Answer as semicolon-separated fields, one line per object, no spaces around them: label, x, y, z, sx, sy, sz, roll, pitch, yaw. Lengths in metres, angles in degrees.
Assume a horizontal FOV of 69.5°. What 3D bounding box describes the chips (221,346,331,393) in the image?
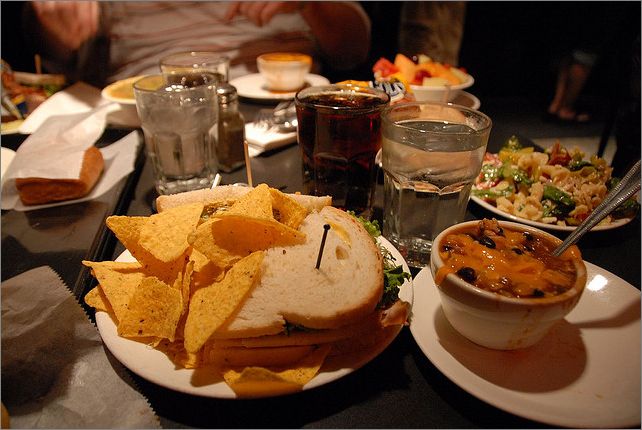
chips;-0.114;0.428;1.265;0.307;0.096;0.101;-8;35;-11

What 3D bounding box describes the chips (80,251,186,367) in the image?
chips;-0.546;0.272;1.371;0.342;0.101;0.270;10;59;14

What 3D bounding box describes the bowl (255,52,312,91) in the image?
bowl;-0.243;-0.895;2.854;0.300;0.156;0.288;2;30;-1

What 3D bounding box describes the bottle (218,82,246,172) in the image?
bottle;-0.435;-0.406;2.158;0.154;0.346;0.166;0;23;0

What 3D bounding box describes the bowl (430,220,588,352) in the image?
bowl;0.542;0.202;1.394;0.427;0.280;0.292;8;35;12

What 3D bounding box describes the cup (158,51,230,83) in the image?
cup;-0.626;-0.752;2.310;0.303;0.227;0.278;-1;19;0

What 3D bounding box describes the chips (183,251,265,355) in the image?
chips;-0.292;0.246;1.305;0.177;0.272;0.263;-5;11;-28

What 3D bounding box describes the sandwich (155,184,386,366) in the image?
sandwich;-0.129;0.153;1.359;0.583;0.257;0.583;-7;36;-13

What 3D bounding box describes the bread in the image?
bread;-1.037;-0.157;1.843;0.195;0.246;0.266;-4;17;-22

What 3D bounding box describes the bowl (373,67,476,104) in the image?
bowl;0.570;-0.660;2.541;0.409;0.090;0.397;2;12;0
